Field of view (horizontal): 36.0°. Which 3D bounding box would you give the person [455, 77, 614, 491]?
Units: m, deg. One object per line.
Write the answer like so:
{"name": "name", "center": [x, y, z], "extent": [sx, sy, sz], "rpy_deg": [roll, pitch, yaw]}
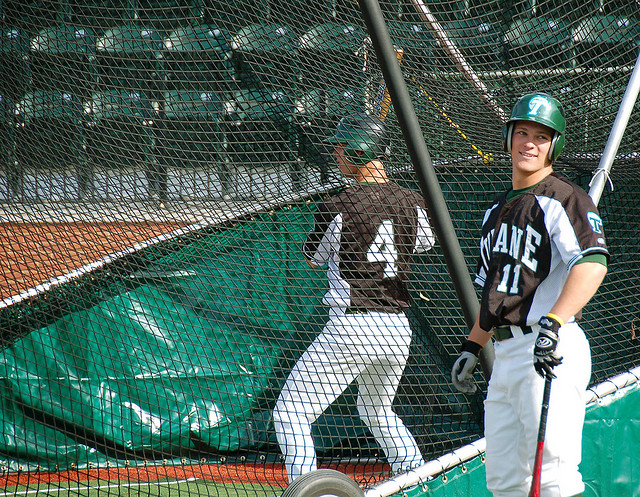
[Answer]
{"name": "person", "center": [1.093, 0.227, 5.067], "extent": [0.431, 2.026, 0.825], "rpy_deg": [-3, -9, -33]}

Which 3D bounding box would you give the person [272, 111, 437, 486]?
{"name": "person", "center": [0.187, 0.251, 6.056], "extent": [1.108, 2.272, 0.511], "rpy_deg": [-8, -8, 5]}

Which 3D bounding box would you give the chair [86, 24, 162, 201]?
{"name": "chair", "center": [-1.264, -0.892, 6.337], "extent": [0.520, 1.040, 0.512], "rpy_deg": [-5, -8, -18]}

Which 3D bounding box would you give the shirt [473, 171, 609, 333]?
{"name": "shirt", "center": [1.096, 0.029, 5.167], "extent": [0.407, 0.884, 1.029], "rpy_deg": [8, -10, -26]}

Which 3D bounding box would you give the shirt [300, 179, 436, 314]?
{"name": "shirt", "center": [0.302, 0.000, 6.271], "extent": [0.977, 0.888, 0.511], "rpy_deg": [-5, 6, -14]}

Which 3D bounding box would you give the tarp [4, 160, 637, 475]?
{"name": "tarp", "center": [-0.255, 0.444, 6.837], "extent": [3.766, 1.145, 2.225], "rpy_deg": [-4, 4, -18]}

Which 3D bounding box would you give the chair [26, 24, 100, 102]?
{"name": "chair", "center": [-1.584, -1.161, 6.097], "extent": [0.456, 0.440, 0.195], "rpy_deg": [-4, -8, -23]}

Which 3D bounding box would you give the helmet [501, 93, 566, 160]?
{"name": "helmet", "center": [1.138, -0.627, 5.127], "extent": [0.319, 0.314, 0.342], "rpy_deg": [15, 2, 36]}

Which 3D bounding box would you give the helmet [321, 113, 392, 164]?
{"name": "helmet", "center": [0.249, -0.715, 6.141], "extent": [0.394, 0.195, 0.264], "rpy_deg": [24, 33, 1]}
